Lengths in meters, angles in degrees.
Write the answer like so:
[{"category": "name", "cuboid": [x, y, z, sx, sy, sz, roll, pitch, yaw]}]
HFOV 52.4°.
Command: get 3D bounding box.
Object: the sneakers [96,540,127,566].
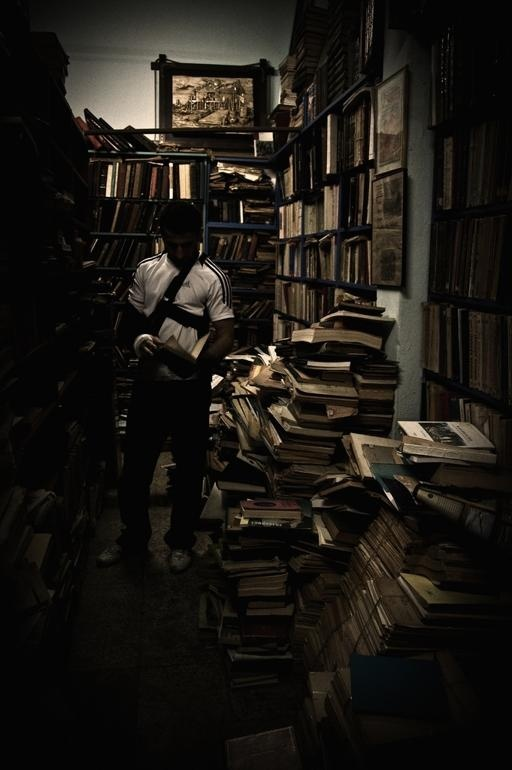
[{"category": "sneakers", "cuboid": [-0.699, 0.828, 2.516, 0.083, 0.037, 0.139, 1, 15, 5]}]
